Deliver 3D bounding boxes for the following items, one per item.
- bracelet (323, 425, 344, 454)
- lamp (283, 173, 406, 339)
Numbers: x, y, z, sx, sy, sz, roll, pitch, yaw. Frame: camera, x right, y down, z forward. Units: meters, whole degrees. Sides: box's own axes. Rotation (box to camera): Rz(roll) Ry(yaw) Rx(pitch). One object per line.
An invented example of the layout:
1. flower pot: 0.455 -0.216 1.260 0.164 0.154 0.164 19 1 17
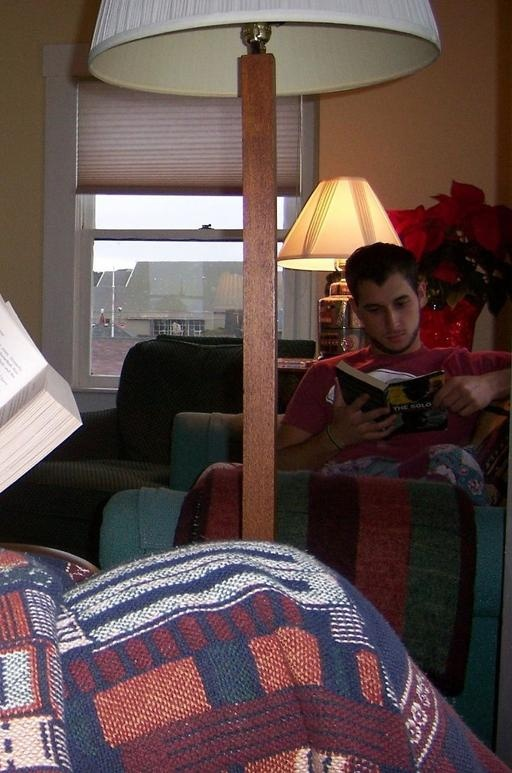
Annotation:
1. bracelet: 0.136 0.091 1.098 0.017 0.045 0.035 -14 41 -21
2. lamp: 0.194 -0.374 1.840 0.366 0.306 0.364 -1 3 -21
